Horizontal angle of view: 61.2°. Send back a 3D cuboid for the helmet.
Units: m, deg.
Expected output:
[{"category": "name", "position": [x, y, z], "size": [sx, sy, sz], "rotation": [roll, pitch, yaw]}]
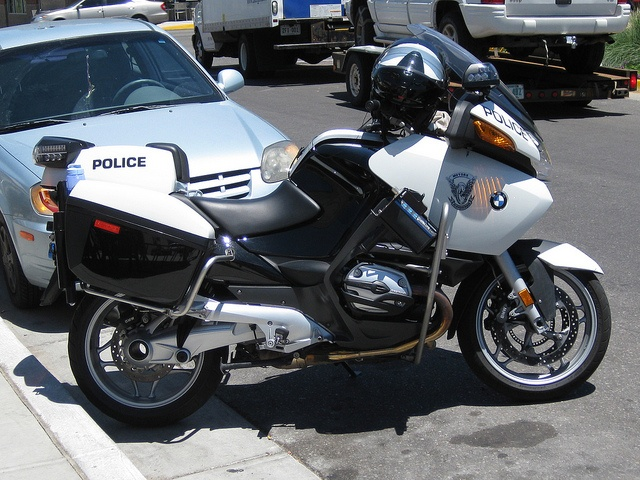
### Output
[{"category": "helmet", "position": [0.516, -0.945, 3.273], "size": [0.521, 0.536, 0.605], "rotation": [11, 28, 0]}]
